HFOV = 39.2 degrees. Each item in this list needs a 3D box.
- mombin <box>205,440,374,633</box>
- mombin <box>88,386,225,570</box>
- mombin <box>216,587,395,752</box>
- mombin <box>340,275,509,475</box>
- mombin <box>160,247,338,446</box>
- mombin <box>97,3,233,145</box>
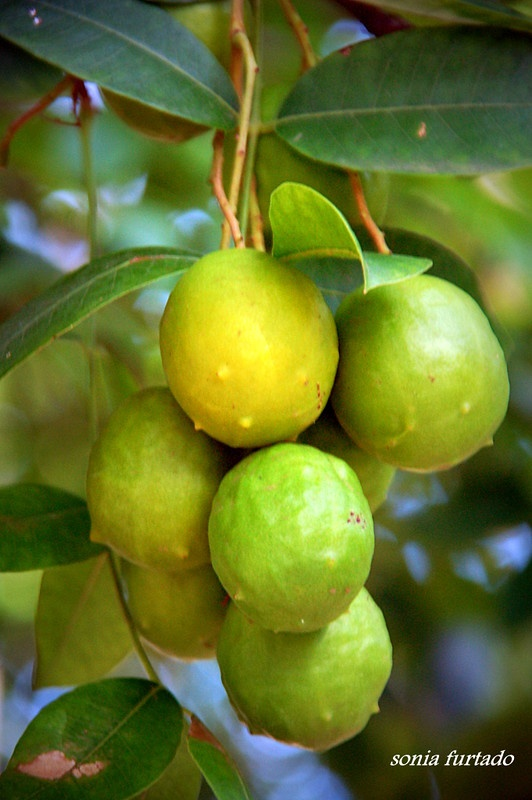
[{"bbox_3d":[0.016,0.095,0.558,0.129,0.130,0.132,9,26,-4],"label":"mombin"},{"bbox_3d":[-0.085,0.073,0.639,0.110,0.134,0.108,4,33,10],"label":"mombin"},{"bbox_3d":[0.029,0.212,0.662,0.144,0.134,0.146,-2,85,-8],"label":"mombin"},{"bbox_3d":[0.128,-0.021,0.625,0.148,0.124,0.133,-2,49,4],"label":"mombin"},{"bbox_3d":[0.000,-0.037,0.572,0.133,0.119,0.137,5,80,6],"label":"mombin"},{"bbox_3d":[-0.110,-0.340,0.820,0.154,0.173,0.086,-6,49,0],"label":"mombin"}]
